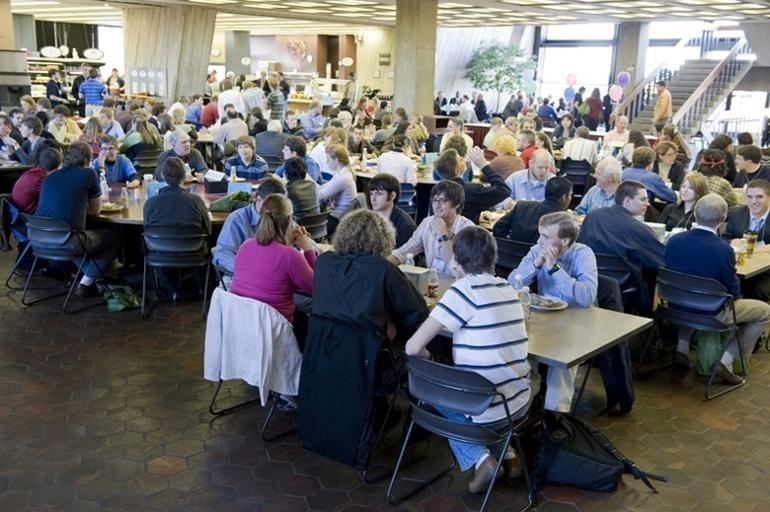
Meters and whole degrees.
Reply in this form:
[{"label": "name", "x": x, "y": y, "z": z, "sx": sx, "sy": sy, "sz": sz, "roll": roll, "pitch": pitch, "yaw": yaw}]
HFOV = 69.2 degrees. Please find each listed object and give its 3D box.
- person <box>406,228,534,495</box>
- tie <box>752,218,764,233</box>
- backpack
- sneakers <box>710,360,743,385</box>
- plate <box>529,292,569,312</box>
[{"label": "person", "x": 0.549, "y": 0.721, "z": 3.554, "sx": 0.749, "sy": 1.766, "sz": 0.534, "roll": 7, "pitch": 17, "yaw": 15}, {"label": "tie", "x": 3.850, "y": -0.312, "z": 5.789, "sx": 0.130, "sy": 0.127, "sz": 0.098, "roll": 1, "pitch": 4, "yaw": -43}, {"label": "backpack", "x": 1.366, "y": 1.369, "z": 3.831, "sx": 0.843, "sy": 0.343, "sz": 0.518, "roll": 23, "pitch": 46, "yaw": -3}, {"label": "sneakers", "x": 3.045, "y": 1.047, "z": 5.042, "sx": 0.238, "sy": 0.080, "sz": 0.107, "roll": 34, "pitch": 38, "yaw": -8}, {"label": "plate", "x": 1.171, "y": 0.354, "z": 4.130, "sx": 0.169, "sy": 0.036, "sz": 0.167, "roll": 4, "pitch": 19, "yaw": -10}]
